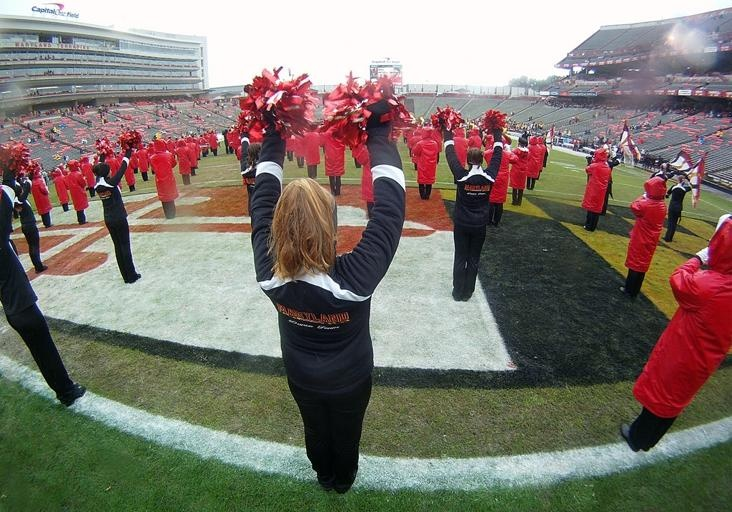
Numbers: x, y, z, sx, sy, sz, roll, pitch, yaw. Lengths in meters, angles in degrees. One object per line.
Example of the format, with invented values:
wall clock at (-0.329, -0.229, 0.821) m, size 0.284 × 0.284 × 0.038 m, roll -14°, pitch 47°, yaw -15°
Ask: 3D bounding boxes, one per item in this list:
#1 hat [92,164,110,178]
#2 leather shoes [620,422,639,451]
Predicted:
hat at (-4.771, -1.540, 7.254) m, size 0.261 × 0.264 × 0.297 m, roll -2°, pitch 29°, yaw -22°
leather shoes at (2.996, 2.022, 4.556) m, size 0.099 × 0.111 × 0.260 m, roll -7°, pitch 36°, yaw 10°
